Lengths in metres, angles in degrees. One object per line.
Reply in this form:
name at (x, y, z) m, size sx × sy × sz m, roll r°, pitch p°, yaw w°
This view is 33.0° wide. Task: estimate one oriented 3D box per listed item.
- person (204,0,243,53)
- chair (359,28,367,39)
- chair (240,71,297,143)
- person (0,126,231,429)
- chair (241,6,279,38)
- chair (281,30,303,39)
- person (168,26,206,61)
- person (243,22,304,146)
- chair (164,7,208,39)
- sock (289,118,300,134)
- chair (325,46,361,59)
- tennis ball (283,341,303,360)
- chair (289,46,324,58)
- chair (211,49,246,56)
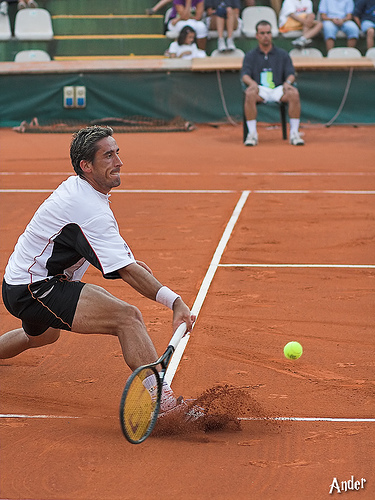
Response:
person at (0.823, -5.059, 14.277) m, size 0.860 × 1.268 × 0.939 m, roll -1°, pitch 11°, yaw 2°
chair at (3.982, -4.903, 14.355) m, size 0.162 × 0.131 × 0.174 m, roll -7°, pitch -6°, yaw 2°
chair at (1.513, -2.422, 10.830) m, size 0.948 × 1.033 × 0.892 m, roll -7°, pitch 13°, yaw -31°
person at (-0.459, 0.000, 3.002) m, size 0.925 × 1.154 × 0.388 m, roll 1°, pitch 12°, yaw 9°
chair at (1.648, -5.255, 14.629) m, size 0.843 × 0.711 × 0.398 m, roll -1°, pitch 11°, yaw -1°
chair at (2.400, -4.936, 14.500) m, size 0.433 × 0.166 × 0.125 m, roll 2°, pitch 11°, yaw 15°
person at (-0.008, -4.526, 13.825) m, size 0.762 × 0.696 × 0.452 m, roll -1°, pitch 11°, yaw -1°
person at (1.450, -2.826, 10.751) m, size 0.999 × 2.059 × 0.696 m, roll 0°, pitch 12°, yaw 5°
chair at (0.003, -5.151, 14.380) m, size 0.938 × 0.814 × 0.846 m, roll 6°, pitch 42°, yaw 4°
sock at (1.841, -2.122, 10.853) m, size 0.147 × 0.260 × 0.291 m, roll 0°, pitch 10°, yaw 6°
chair at (3.493, -4.395, 14.051) m, size 0.682 × 0.336 × 0.810 m, roll 1°, pitch 10°, yaw 13°
tennis ball at (0.572, 0.550, 3.468) m, size 0.112 × 0.091 × 0.099 m, roll 0°, pitch -19°, yaw -4°
chair at (2.717, -4.472, 14.297) m, size 0.800 × 0.301 × 0.746 m, roll 0°, pitch 9°, yaw 5°
chair at (0.911, -4.403, 14.154) m, size 0.740 × 0.154 × 0.220 m, roll -2°, pitch 10°, yaw -5°
